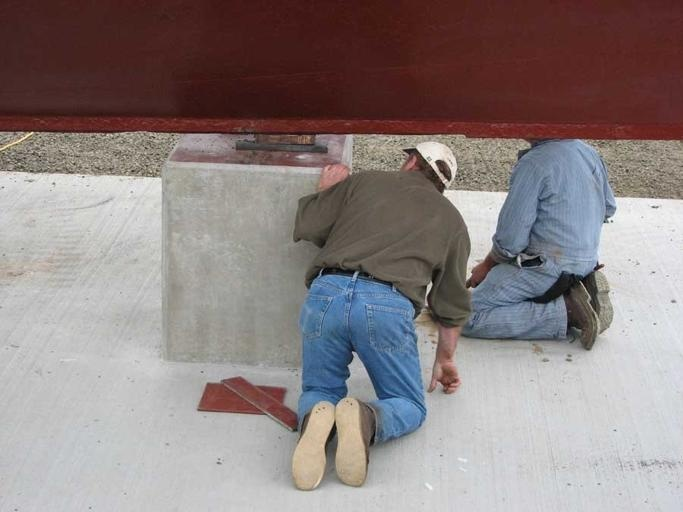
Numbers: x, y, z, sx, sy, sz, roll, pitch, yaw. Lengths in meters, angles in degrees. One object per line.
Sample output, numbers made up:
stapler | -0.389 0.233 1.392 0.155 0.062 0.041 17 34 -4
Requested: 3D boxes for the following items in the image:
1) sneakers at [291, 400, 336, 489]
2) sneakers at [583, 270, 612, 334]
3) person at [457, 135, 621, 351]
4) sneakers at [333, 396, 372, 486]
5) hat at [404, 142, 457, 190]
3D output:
sneakers | -0.123 0.829 2.905 0.161 0.403 0.162 19 -11 4
sneakers | 1.452 0.250 3.787 0.145 0.371 0.162 0 -25 -1
person | 1.184 -0.275 4.123 1.010 1.462 1.110 -1 9 7
sneakers | 0.045 0.797 2.809 0.154 0.371 0.165 -2 -1 19
hat | 0.449 -0.515 3.411 0.205 0.139 0.265 28 18 -42
